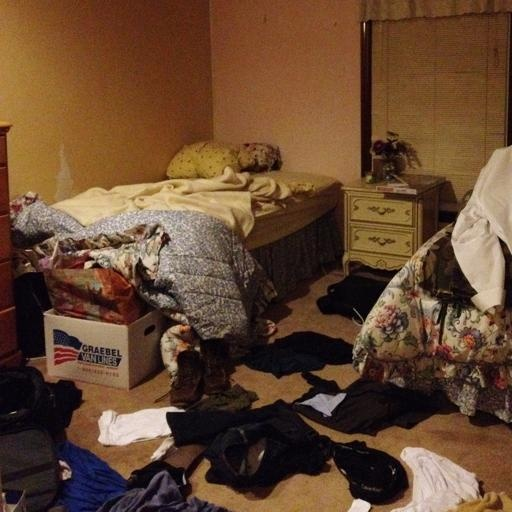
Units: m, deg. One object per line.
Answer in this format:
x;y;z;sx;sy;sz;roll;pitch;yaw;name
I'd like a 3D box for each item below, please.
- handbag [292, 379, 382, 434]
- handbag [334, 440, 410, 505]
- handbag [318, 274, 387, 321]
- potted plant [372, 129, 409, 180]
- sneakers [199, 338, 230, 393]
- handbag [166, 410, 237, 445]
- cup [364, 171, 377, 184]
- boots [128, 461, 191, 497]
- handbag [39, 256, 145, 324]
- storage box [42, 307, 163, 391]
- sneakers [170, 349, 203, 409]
0.367;0.595;1.858;0.346;0.080;0.272;-7;14;-28;handbag
0.372;0.692;1.531;0.191;0.046;0.258;-3;12;-10;handbag
0.609;0.247;2.927;0.291;0.078;0.309;6;19;33;handbag
0.960;-0.713;3.385;0.280;0.334;0.403;2;13;12;potted plant
-0.186;0.476;2.154;0.139;0.165;0.404;-2;12;-4;sneakers
-0.200;0.607;1.707;0.138;0.031;0.137;2;10;14;handbag
0.794;-0.543;3.310;0.092;0.076;0.082;1;5;6;cup
-0.308;0.699;1.497;0.193;0.079;0.106;-3;13;-11;boots
-0.729;0.152;2.068;0.386;0.197;0.247;6;2;13;handbag
-0.671;0.407;2.157;0.541;0.265;0.364;4;11;21;storage box
-0.299;0.519;2.033;0.148;0.154;0.309;-3;13;-6;sneakers
